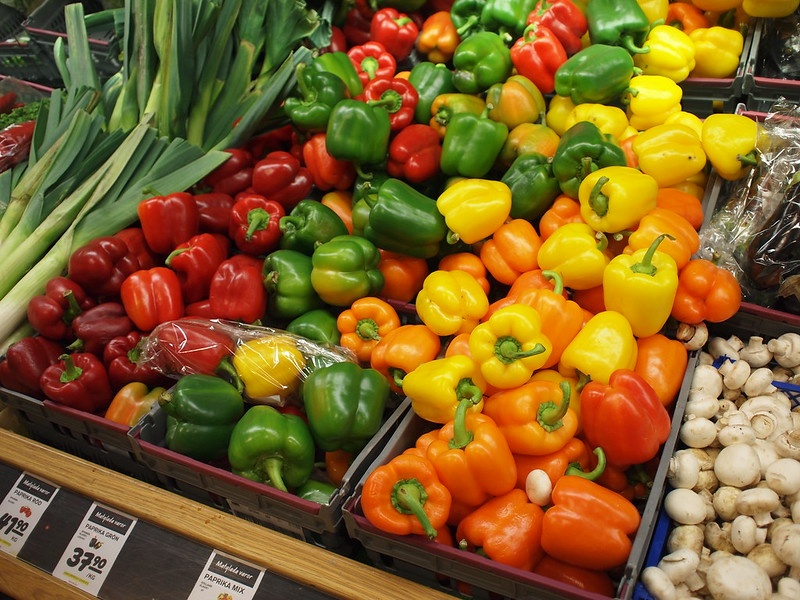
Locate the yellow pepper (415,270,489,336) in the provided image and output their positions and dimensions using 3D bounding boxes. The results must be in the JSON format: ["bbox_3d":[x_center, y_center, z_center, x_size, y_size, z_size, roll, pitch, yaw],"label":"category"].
[{"bbox_3d":[0.292,0.066,3.774,0.368,0.376,0.352,7,-12,-22],"label":"yellow pepper"}]

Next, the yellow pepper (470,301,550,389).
[{"bbox_3d":[0.570,0.246,3.285,0.251,0.258,0.342,38,14,3],"label":"yellow pepper"}]

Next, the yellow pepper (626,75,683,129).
[{"bbox_3d":[1.637,-1.270,4.249,0.247,0.321,0.268,9,-28,-15],"label":"yellow pepper"}]

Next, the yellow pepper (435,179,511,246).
[{"bbox_3d":[0.408,-0.545,3.841,0.411,0.251,0.310,-28,-42,34],"label":"yellow pepper"}]

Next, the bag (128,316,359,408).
[{"bbox_3d":[-0.911,0.291,3.837,1.141,0.545,0.407,10,10,0],"label":"bag"}]

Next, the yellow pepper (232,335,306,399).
[{"bbox_3d":[-0.772,0.413,3.754,0.430,0.353,0.335,-3,-9,-25],"label":"yellow pepper"}]

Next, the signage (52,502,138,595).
[{"bbox_3d":[-1.486,1.223,3.164,0.328,0.361,0.084,23,-25,19],"label":"signage"}]

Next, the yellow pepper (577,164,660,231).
[{"bbox_3d":[1.224,-0.543,3.715,0.460,0.383,0.356,-20,6,-32],"label":"yellow pepper"}]

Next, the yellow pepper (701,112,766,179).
[{"bbox_3d":[2.021,-0.931,3.924,0.239,0.326,0.242,-22,-28,-4],"label":"yellow pepper"}]

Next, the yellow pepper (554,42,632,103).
[{"bbox_3d":[1.249,-1.414,4.209,0.410,0.387,0.503,1,20,46],"label":"yellow pepper"}]
